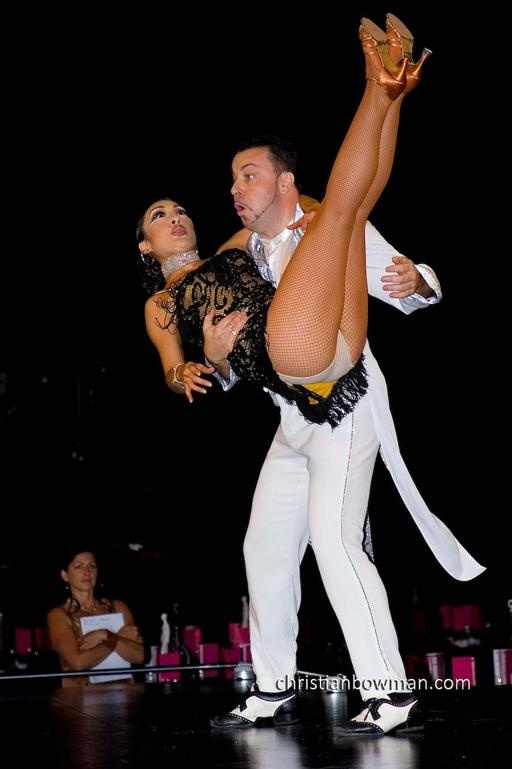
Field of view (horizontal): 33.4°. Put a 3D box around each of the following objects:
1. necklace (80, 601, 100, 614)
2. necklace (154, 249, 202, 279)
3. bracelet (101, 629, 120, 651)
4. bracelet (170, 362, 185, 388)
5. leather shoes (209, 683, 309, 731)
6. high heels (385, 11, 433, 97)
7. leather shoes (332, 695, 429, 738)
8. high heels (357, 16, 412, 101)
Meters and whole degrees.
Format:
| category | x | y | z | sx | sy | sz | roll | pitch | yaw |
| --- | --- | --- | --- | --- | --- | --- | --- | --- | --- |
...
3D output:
| category | x | y | z | sx | sy | sz | roll | pitch | yaw |
| --- | --- | --- | --- | --- | --- | --- | --- | --- | --- |
| necklace | -0.585 | 0.781 | 2.992 | 0.033 | 0.014 | 0.056 | 10 | 0 | 4 |
| necklace | -0.154 | -0.246 | 1.703 | 0.060 | 0.036 | 0.072 | -20 | -5 | -15 |
| bracelet | -0.478 | 0.841 | 2.799 | 0.046 | 0.059 | 0.050 | -1 | -11 | -1 |
| bracelet | -0.151 | -0.011 | 1.613 | 0.018 | 0.034 | 0.047 | -2 | 0 | -16 |
| leather shoes | 0.005 | 0.623 | 1.634 | 0.186 | 0.083 | 0.064 | 2 | -17 | -9 |
| high heels | 0.191 | -0.450 | 1.161 | 0.048 | 0.134 | 0.055 | -10 | -20 | -4 |
| leather shoes | 0.224 | 0.576 | 1.475 | 0.187 | 0.077 | 0.065 | 4 | -18 | -18 |
| high heels | 0.173 | -0.439 | 1.134 | 0.051 | 0.133 | 0.058 | -8 | -16 | 0 |
